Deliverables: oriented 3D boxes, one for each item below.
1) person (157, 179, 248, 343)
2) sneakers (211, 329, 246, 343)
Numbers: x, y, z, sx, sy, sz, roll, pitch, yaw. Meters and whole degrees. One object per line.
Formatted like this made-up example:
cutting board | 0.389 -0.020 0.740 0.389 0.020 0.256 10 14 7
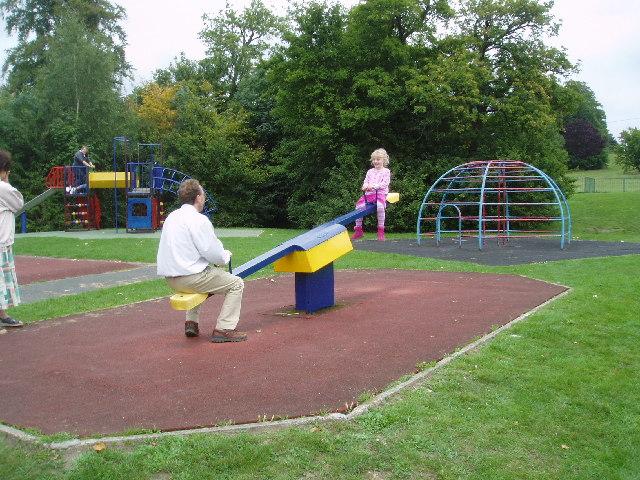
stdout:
person | -1.450 0.280 7.744 1.044 2.000 0.634 -3 10 -14
sneakers | -1.119 1.187 7.774 0.420 0.199 0.166 -1 3 -10
